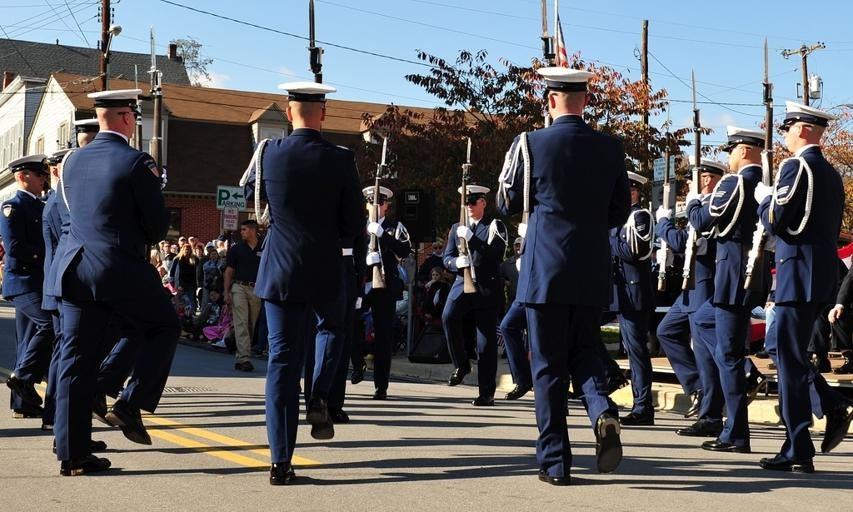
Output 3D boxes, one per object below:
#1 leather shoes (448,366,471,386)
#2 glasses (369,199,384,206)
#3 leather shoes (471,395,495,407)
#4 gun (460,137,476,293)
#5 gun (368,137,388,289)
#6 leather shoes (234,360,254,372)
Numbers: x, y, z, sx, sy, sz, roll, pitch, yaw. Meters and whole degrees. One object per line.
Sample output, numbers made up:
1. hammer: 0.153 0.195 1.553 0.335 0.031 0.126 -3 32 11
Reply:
1. leather shoes: 0.494 1.826 22.256 0.239 0.154 0.490 5 -18 -12
2. glasses: -0.688 -0.745 20.989 0.108 0.065 0.141 0 -8 35
3. leather shoes: 0.790 2.068 20.922 0.353 0.120 0.119 12 -8 -17
4. gun: 0.579 -0.468 21.228 0.472 1.958 0.352 0 0 -1
5. gun: -0.809 -0.585 21.125 0.512 2.039 0.380 2 -1 6
6. leather shoes: -2.893 1.776 23.424 0.340 0.114 0.124 -7 -8 35
